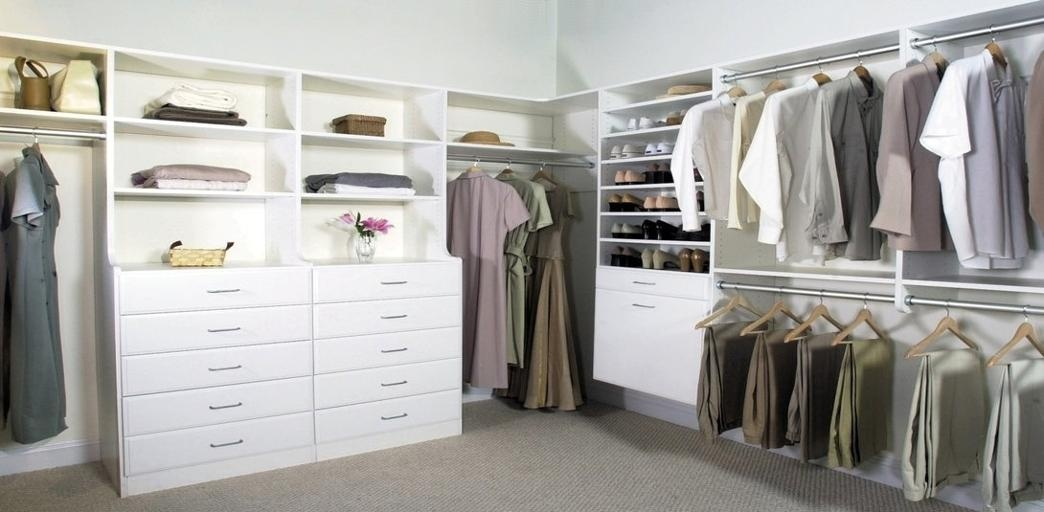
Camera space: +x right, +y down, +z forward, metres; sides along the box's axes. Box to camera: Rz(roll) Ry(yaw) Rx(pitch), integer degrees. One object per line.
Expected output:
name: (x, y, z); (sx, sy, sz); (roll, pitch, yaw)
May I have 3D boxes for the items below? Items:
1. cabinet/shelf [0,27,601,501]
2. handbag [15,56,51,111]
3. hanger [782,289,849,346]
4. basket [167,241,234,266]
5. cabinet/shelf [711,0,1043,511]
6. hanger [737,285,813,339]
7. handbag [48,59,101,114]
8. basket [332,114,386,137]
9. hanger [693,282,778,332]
cabinet/shelf: (-2.139, 0.147, 5.759); (5.435, 2.967, 1.637); (-1, 0, -27)
handbag: (-4.004, -1.412, 5.267); (0.408, 0.340, 0.245); (23, 26, 38)
hanger: (2.523, 0.535, 5.447); (0.977, 0.284, 0.047); (0, 9, -38)
basket: (-2.784, -0.023, 5.577); (0.491, 0.155, 0.249); (0, 0, -26)
cabinet/shelf: (2.910, 0.050, 5.185); (2.220, 3.829, 0.931); (1, 6, 27)
hanger: (2.205, 0.483, 5.604); (0.592, 0.256, 0.035); (2, 8, -11)
handbag: (-3.670, -1.433, 5.492); (0.344, 0.441, 0.786); (-3, 13, -18)
basket: (-1.544, -1.178, 6.037); (0.336, 0.112, 0.326); (-1, 2, -34)
hanger: (1.894, 0.412, 5.614); (0.741, 0.384, 0.047); (2, 2, -33)
